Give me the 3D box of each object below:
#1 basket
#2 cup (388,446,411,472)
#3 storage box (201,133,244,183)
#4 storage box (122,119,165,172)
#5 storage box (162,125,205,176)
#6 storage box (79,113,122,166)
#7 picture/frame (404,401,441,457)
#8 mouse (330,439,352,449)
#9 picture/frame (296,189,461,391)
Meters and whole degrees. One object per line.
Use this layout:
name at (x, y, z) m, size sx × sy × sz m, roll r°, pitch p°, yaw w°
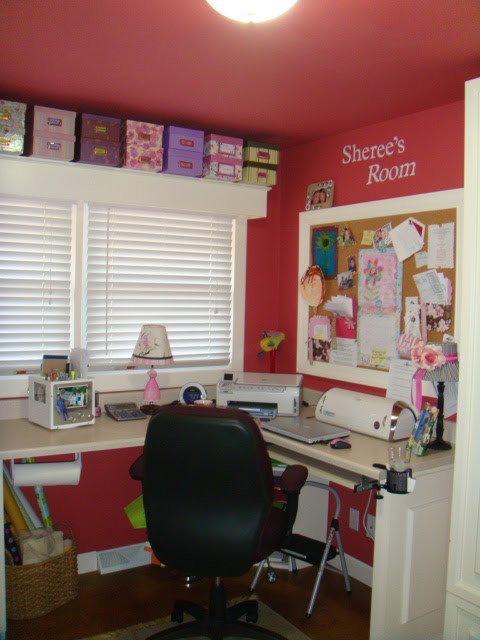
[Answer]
basket at (-0.921, 1.118, 2.335) m, size 0.295 × 0.273 × 0.355 m, roll -1°, pitch -8°, yaw -25°
cup at (0.573, 0.477, 1.795) m, size 0.078 × 0.087 × 0.081 m, roll 0°, pitch 7°, yaw 0°
storage box at (-0.087, -0.855, 2.830) m, size 0.275 × 0.280 × 0.212 m, roll -4°, pitch 8°, yaw -37°
storage box at (-0.487, -0.846, 2.545) m, size 0.227 × 0.233 × 0.233 m, roll -1°, pitch 9°, yaw -24°
storage box at (-0.295, -0.852, 2.677) m, size 0.242 × 0.236 × 0.236 m, roll -2°, pitch 5°, yaw -33°
storage box at (-0.669, -0.845, 2.426) m, size 0.229 × 0.224 × 0.229 m, roll -3°, pitch 20°, yaw -29°
picture/frame at (0.755, 0.431, 2.044) m, size 0.089 × 0.055 × 0.261 m, roll -16°, pitch 22°, yaw 34°
mouse at (0.408, 0.491, 2.057) m, size 0.055 × 0.021 × 0.041 m, roll -3°, pitch -1°, yaw -9°
picture/frame at (0.700, -0.157, 2.512) m, size 0.048 × 1.128 × 1.141 m, roll 1°, pitch 0°, yaw -35°
